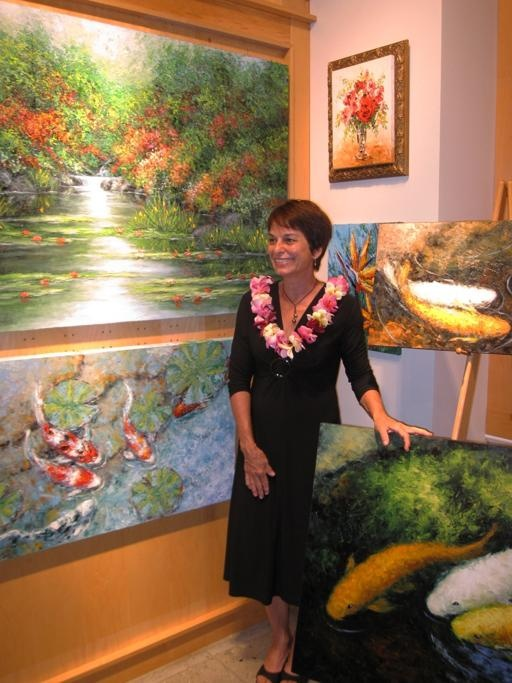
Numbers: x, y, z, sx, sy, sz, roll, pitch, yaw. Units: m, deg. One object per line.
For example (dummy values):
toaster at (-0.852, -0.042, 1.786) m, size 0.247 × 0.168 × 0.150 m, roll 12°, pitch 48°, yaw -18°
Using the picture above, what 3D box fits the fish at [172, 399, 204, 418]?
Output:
fish at (-0.263, 0.262, 1.874) m, size 0.144 × 0.065 × 0.007 m, roll -10°, pitch 15°, yaw -40°

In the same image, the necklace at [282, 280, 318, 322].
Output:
necklace at (0.133, -0.123, 1.548) m, size 0.093 × 0.159 × 0.038 m, roll 7°, pitch 0°, yaw 16°
